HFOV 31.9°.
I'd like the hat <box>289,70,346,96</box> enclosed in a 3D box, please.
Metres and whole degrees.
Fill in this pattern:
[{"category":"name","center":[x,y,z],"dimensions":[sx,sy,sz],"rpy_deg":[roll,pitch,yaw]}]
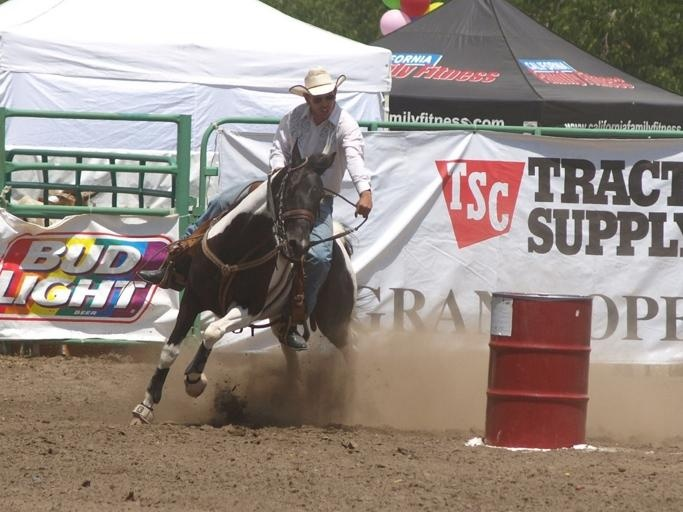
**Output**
[{"category":"hat","center":[-0.298,-1.884,13.082],"dimensions":[0.545,0.317,0.671],"rpy_deg":[1,8,-9]}]

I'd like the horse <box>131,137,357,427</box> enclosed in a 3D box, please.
[{"category":"horse","center":[-1.008,0.319,12.907],"dimensions":[2.267,2.983,1.603],"rpy_deg":[2,8,0]}]

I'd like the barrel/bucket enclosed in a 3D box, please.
[{"category":"barrel/bucket","center":[2.037,1.199,12.407],"dimensions":[1.039,1.573,0.423],"rpy_deg":[3,9,7]}]
